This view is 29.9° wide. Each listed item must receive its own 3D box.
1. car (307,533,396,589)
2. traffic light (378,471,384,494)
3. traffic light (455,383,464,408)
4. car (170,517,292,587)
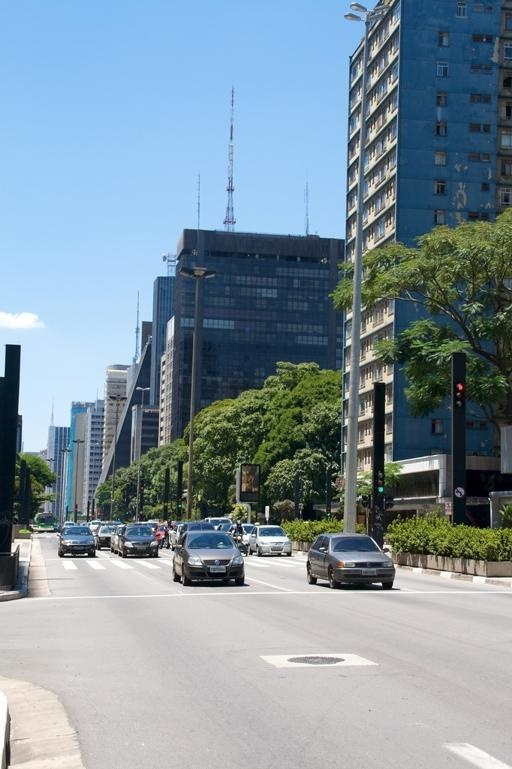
[{"bbox_3d":[2.212,4.321,23.608,1.462,1.391,3.390,1,-10,-9],"label":"car"},{"bbox_3d":[4.233,3.400,32.995,0.146,0.679,0.727,0,-8,13],"label":"traffic light"},{"bbox_3d":[6.098,0.315,29.045,0.257,0.606,0.525,1,-8,6],"label":"traffic light"},{"bbox_3d":[-1.169,4.334,23.991,1.463,1.370,2.498,4,-9,-9],"label":"car"}]
